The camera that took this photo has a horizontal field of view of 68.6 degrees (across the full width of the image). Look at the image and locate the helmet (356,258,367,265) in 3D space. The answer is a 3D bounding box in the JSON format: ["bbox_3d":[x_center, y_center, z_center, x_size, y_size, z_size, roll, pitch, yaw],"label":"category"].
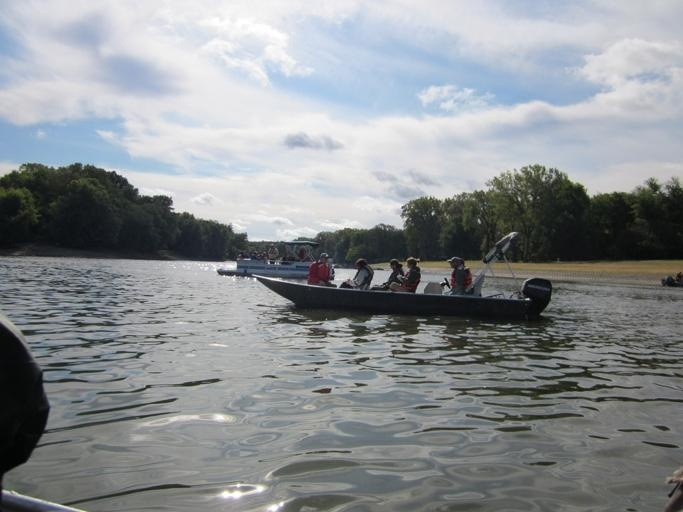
[{"bbox_3d":[0.615,0.236,16.047,0.293,0.258,0.237,4,4,26],"label":"helmet"}]

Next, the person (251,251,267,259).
[{"bbox_3d":[-6.704,0.126,41.631,0.915,0.515,1.347,2,2,-4],"label":"person"}]

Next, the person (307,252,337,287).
[{"bbox_3d":[-0.667,0.605,17.325,0.838,1.181,0.876,5,2,19],"label":"person"}]
